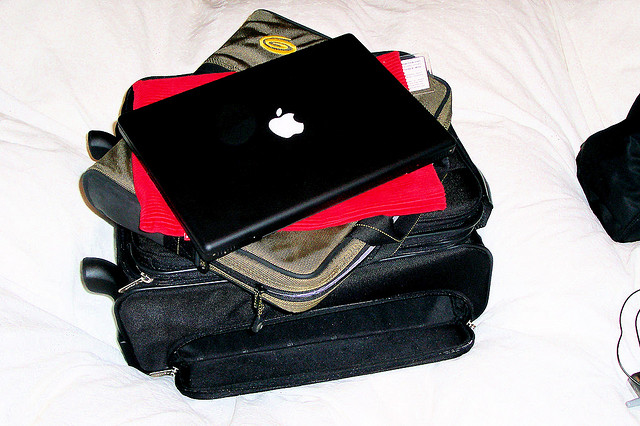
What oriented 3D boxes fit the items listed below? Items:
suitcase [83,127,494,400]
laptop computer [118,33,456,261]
[{"bbox_3d":[-0.020,0.224,1.652,1.011,0.330,0.737,-10,51,-6],"label":"suitcase"},{"bbox_3d":[-0.081,-0.139,1.556,0.708,0.069,0.516,-23,60,-14],"label":"laptop computer"}]
